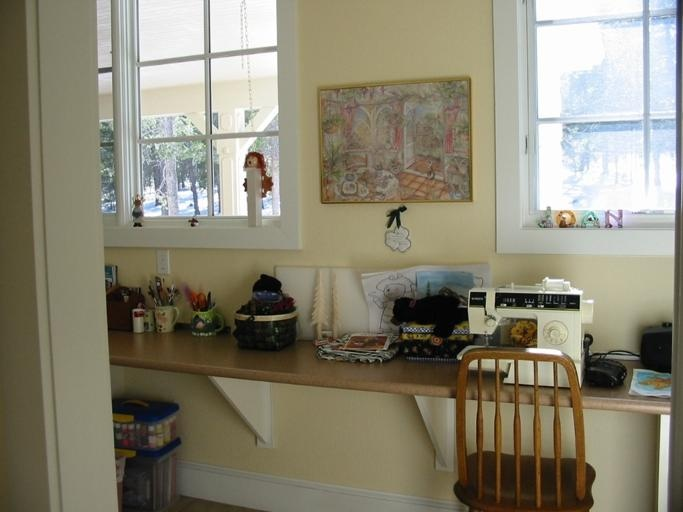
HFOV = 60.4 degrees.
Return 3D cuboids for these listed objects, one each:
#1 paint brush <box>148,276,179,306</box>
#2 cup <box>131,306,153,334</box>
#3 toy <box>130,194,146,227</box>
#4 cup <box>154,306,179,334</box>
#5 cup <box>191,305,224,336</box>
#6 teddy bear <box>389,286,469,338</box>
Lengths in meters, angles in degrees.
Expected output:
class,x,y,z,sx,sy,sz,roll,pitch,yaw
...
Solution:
class,x,y,z,sx,sy,sz,roll,pitch,yaw
paint brush,-0.919,0.181,2.958,0.188,0.145,0.104,2,8,30
cup,-0.977,0.322,2.899,0.115,0.131,0.080,-1,0,26
toy,-1.058,-0.235,3.051,0.061,0.166,0.125,-4,7,-20
cup,-0.860,0.309,2.879,0.128,0.146,0.087,1,-1,-22
cup,-0.643,0.323,2.855,0.147,0.115,0.100,0,2,6
teddy bear,0.332,0.225,2.347,0.227,0.174,0.073,-5,-21,29
